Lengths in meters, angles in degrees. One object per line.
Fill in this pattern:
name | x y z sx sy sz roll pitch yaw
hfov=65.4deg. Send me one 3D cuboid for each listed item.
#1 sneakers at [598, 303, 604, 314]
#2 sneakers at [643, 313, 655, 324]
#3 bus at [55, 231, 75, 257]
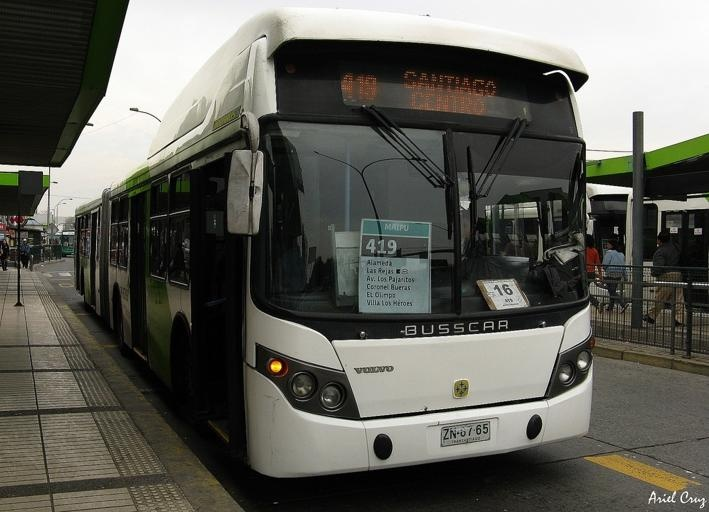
sneakers | 5.248 1.125 11.829 0.056 0.205 0.134 -6 5 5
sneakers | 5.778 1.250 10.871 0.131 0.116 0.148 3 4 -12
bus | -39.481 -1.523 75.673 3.296 4.355 11.707 -1 2 -27
